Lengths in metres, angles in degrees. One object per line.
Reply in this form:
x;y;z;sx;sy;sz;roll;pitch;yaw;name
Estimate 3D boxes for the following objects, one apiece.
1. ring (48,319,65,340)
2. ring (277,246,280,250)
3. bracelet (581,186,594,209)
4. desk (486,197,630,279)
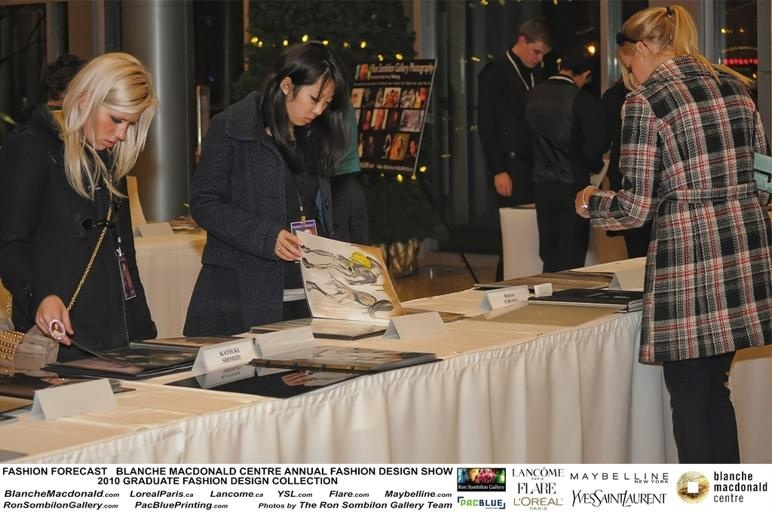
-0.963;0.214;2.462;0.023;0.055;0.049;-22;4;-21;ring
-0.367;-0.029;2.871;0.011;0.013;0.003;-15;7;-8;ring
0.730;-0.214;3.050;0.028;0.072;0.055;11;9;18;bracelet
1.196;-0.192;5.804;0.799;0.736;0.563;-6;3;-41;desk
